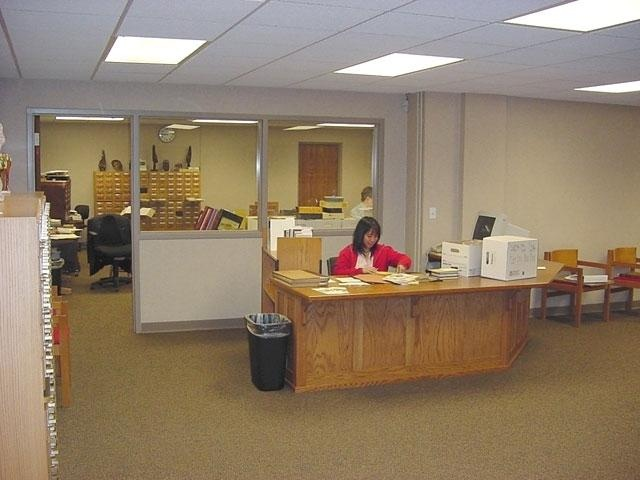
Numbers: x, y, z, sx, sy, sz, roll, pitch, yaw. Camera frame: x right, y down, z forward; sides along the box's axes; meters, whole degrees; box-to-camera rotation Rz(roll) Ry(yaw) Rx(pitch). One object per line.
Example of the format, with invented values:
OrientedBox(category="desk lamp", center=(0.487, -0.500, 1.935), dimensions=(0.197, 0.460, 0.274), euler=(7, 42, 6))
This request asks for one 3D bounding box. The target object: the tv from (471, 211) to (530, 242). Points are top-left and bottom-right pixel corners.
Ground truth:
OrientedBox(category="tv", center=(2.409, -0.235, 6.792), dimensions=(0.489, 0.380, 0.494), euler=(0, 4, -7))

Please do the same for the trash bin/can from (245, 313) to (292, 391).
OrientedBox(category="trash bin/can", center=(-0.507, 1.069, 4.901), dimensions=(0.415, 0.652, 0.483), euler=(-1, 8, -12))

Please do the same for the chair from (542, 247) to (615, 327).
OrientedBox(category="chair", center=(3.706, 0.656, 7.319), dimensions=(0.844, 0.971, 0.900), euler=(3, 5, 35))

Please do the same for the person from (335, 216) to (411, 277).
OrientedBox(category="person", center=(0.524, 0.128, 5.745), dimensions=(0.866, 0.798, 0.622), euler=(-3, 7, -22))

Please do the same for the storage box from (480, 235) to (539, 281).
OrientedBox(category="storage box", center=(1.957, 0.167, 5.343), dimensions=(0.577, 0.470, 0.431), euler=(-2, 4, -26))

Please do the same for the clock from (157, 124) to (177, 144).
OrientedBox(category="clock", center=(-3.204, -2.173, 10.402), dimensions=(0.389, 0.338, 0.335), euler=(-5, 9, -34))
